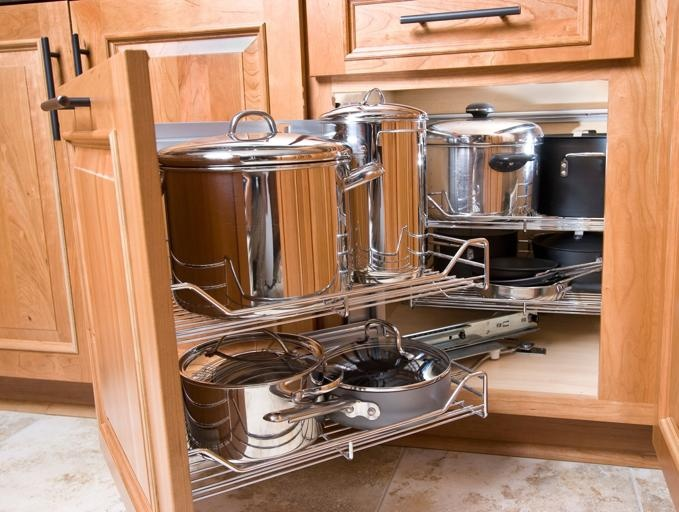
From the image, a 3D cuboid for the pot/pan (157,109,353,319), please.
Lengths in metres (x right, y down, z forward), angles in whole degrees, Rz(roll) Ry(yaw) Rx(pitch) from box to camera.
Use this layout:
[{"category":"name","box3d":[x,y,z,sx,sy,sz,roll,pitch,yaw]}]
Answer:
[{"category":"pot/pan","box3d":[-0.130,-0.086,1.056,0.339,0.333,0.166,-7,18,-16]}]

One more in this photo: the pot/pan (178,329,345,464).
[{"category":"pot/pan","box3d":[-0.174,0.275,1.218,0.341,0.152,0.274,-1,9,-12]}]
